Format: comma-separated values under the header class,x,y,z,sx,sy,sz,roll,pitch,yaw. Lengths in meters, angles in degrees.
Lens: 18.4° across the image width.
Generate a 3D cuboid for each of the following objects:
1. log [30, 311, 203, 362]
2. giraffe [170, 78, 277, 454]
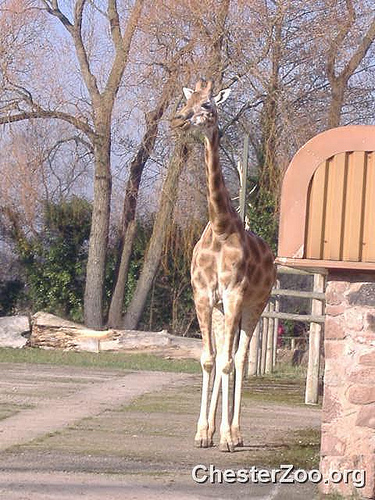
class,x,y,z,sx,sy,sz,roll,pitch,yaw
log,-1.369,1.832,24.882,3.006,0.910,1.995,2,-2,12
giraffe,0.403,0.151,14.374,1.133,4.574,2.558,2,-8,10
